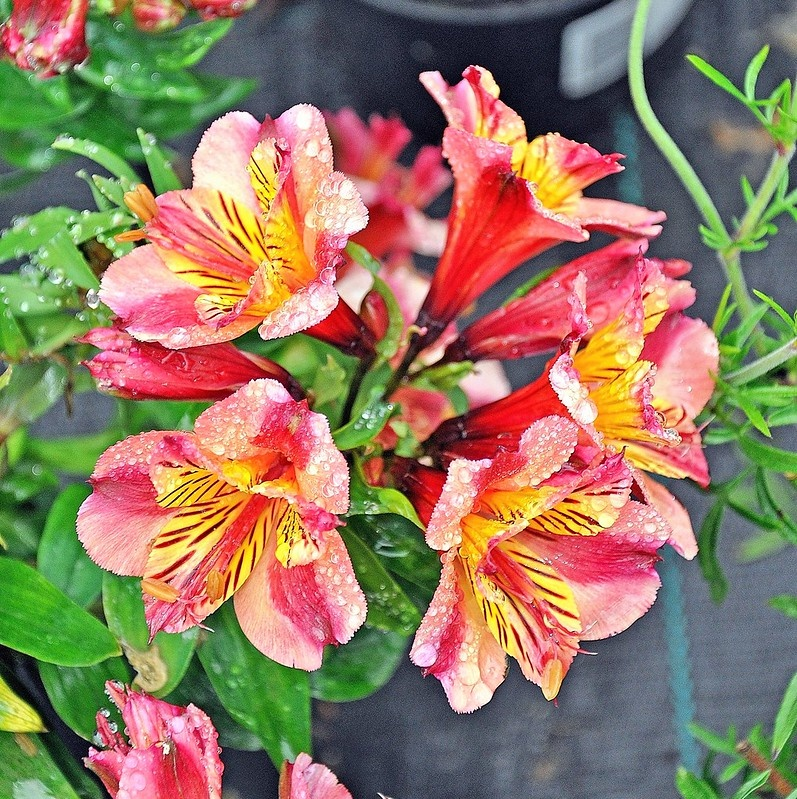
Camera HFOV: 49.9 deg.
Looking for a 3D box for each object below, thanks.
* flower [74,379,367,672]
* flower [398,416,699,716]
[{"bbox_3d":[-0.078,0.053,0.437,0.132,0.136,0.055,50,37,-6],"label":"flower"},{"bbox_3d":[0.060,0.066,0.441,0.136,0.093,0.137,42,107,-5],"label":"flower"}]
